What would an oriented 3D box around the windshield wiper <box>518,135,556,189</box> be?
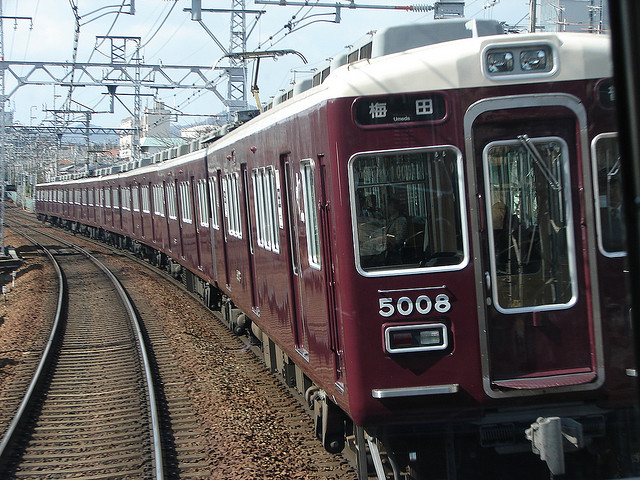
[{"bbox_3d":[1.736,-0.634,5.625,0.053,0.496,0.055,-38,6,25],"label":"windshield wiper"}]
